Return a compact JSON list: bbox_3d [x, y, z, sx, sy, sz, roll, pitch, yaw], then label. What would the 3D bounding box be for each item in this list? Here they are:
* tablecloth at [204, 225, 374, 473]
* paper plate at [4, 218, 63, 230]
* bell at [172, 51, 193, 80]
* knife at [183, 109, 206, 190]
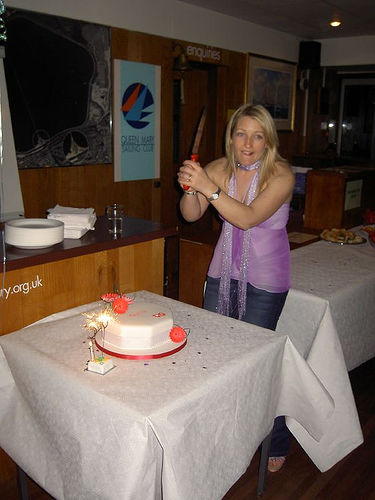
[{"bbox_3d":[0.707,0.279,1.753,0.699,0.342,1.108,15,31,34],"label":"tablecloth"},{"bbox_3d":[-0.586,-0.104,1.449,0.249,0.024,0.194,4,9,22],"label":"paper plate"},{"bbox_3d":[-0.082,-2.124,4.120,0.189,0.333,0.580,0,9,-3],"label":"bell"},{"bbox_3d":[0.020,-0.347,1.309,0.028,0.234,0.027,15,22,4],"label":"knife"}]
